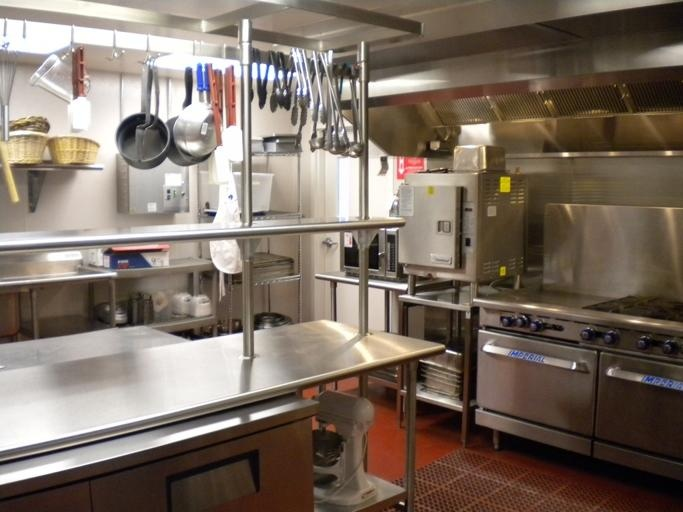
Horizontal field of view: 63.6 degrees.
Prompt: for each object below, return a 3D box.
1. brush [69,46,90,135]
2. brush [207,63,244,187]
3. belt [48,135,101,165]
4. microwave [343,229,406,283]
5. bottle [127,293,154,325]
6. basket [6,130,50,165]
[{"bbox_3d":[-1.103,-0.704,2.310,0.074,0.369,0.524,-4,16,-23],"label":"brush"},{"bbox_3d":[-0.489,-0.534,2.286,0.124,0.507,0.558,-1,15,-13],"label":"brush"},{"bbox_3d":[-2.056,-0.817,4.238,0.348,0.219,0.158,-5,16,-28],"label":"belt"},{"bbox_3d":[0.281,-0.038,4.344,0.349,0.397,0.391,-5,11,-37],"label":"microwave"},{"bbox_3d":[-1.758,0.443,4.807,0.207,0.207,0.363,-3,16,-22],"label":"bottle"},{"bbox_3d":[-2.275,-0.789,4.001,0.373,0.255,0.370,-1,1,-32],"label":"basket"}]
